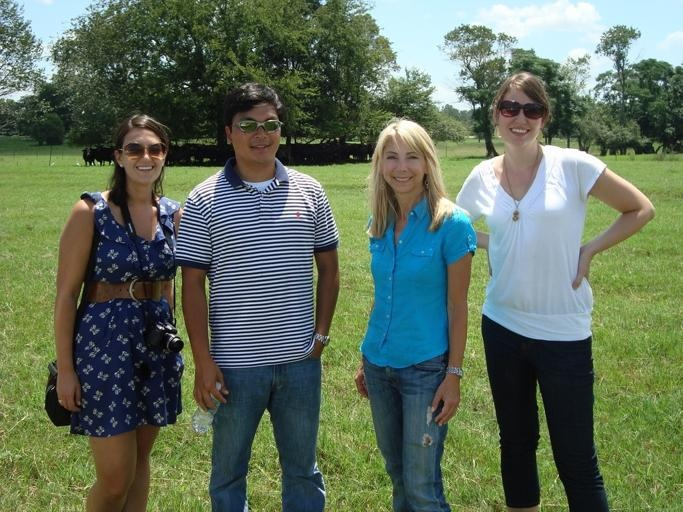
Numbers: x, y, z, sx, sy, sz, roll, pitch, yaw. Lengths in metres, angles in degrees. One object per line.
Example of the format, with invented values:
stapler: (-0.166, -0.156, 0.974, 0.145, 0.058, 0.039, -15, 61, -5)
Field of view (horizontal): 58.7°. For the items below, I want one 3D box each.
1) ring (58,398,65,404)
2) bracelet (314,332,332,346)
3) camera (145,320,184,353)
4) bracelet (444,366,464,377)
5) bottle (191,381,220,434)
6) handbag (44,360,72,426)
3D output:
ring: (-1.811, 0.931, 3.932, 0.030, 0.032, 0.010, -17, 17, 29)
bracelet: (-0.121, 0.569, 4.135, 0.073, 0.054, 0.089, 8, -7, -40)
camera: (-1.150, 0.538, 4.041, 0.230, 0.139, 0.220, 27, 10, 30)
bracelet: (0.728, 0.733, 3.862, 0.088, 0.056, 0.092, 11, -12, -13)
bottle: (-0.878, 1.028, 3.943, 0.175, 0.240, 0.224, -1, 12, -18)
handbag: (-1.907, 0.968, 4.082, 0.144, 0.567, 0.439, -3, 13, -28)
